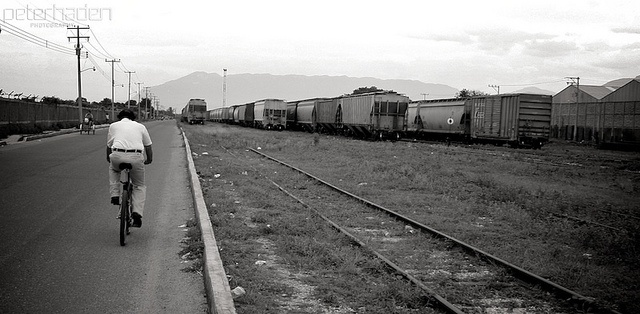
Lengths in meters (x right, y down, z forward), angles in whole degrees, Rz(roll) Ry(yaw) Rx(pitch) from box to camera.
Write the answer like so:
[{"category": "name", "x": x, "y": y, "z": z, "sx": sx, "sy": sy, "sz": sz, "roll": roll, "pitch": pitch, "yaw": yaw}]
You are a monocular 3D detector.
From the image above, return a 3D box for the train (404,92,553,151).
[{"category": "train", "x": 15.614, "y": -4.192, "z": 47.720, "sx": 4.107, "sy": 4.742, "sz": 20.077, "roll": -2, "pitch": 6, "yaw": -22}]

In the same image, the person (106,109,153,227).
[{"category": "person", "x": -6.113, "y": 0.513, "z": 13.693, "sx": 1.272, "sy": 3.978, "sz": 0.960, "roll": 1, "pitch": 12, "yaw": -11}]

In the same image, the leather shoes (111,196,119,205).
[{"category": "leather shoes", "x": -6.520, "y": 1.357, "z": 13.514, "sx": 0.311, "sy": 0.251, "sz": 0.126, "roll": 4, "pitch": 12, "yaw": 5}]

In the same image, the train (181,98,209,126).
[{"category": "train", "x": -24.764, "y": -9.008, "z": 85.029, "sx": 2.863, "sy": 5.376, "sz": 5.909, "roll": -3, "pitch": 14, "yaw": -29}]
